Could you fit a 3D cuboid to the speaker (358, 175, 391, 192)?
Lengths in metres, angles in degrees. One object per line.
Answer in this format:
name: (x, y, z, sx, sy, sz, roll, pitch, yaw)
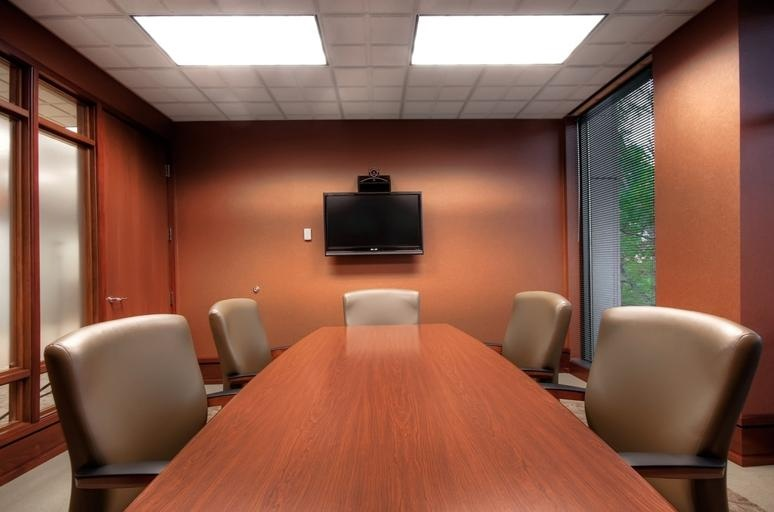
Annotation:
speaker: (-0.155, -0.833, 5.672, 0.374, 0.207, 0.178, -1, 2, -4)
